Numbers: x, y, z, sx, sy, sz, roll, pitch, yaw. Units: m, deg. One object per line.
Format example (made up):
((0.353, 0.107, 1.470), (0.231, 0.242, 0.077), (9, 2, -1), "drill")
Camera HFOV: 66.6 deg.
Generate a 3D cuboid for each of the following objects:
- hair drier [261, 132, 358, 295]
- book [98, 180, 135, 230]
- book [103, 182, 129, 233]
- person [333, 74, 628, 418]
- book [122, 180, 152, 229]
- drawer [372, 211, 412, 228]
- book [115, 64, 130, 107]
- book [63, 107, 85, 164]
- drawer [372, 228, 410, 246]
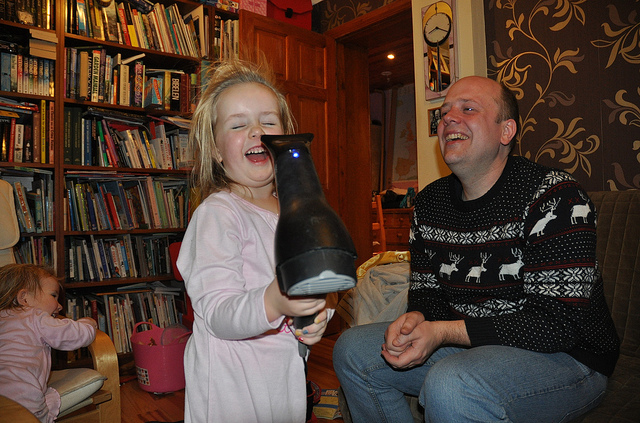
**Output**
((-0.037, 0.002, 1.418), (0.230, 0.414, 0.210), (-4, -1, -8), "hair drier")
((-1.391, -0.055, 3.509), (0.077, 0.305, 0.320), (-18, 22, -20), "book")
((-1.439, -0.010, 3.476), (0.061, 0.250, 0.252), (-25, 11, -21), "book")
((0.738, 0.089, 2.050), (0.862, 1.492, 0.580), (-4, -1, 24), "person")
((-1.341, -0.088, 3.602), (0.073, 0.299, 0.304), (-11, -32, -14), "book")
((0.891, 0.095, 5.662), (0.409, 0.183, 0.049), (-4, -1, 44), "drawer")
((-1.417, -0.888, 3.465), (0.114, 0.314, 0.346), (-1, 1, -25), "book")
((-1.672, -0.507, 3.304), (0.129, 0.279, 0.044), (-3, -1, -26), "book")
((0.817, 0.299, 5.686), (0.437, 0.195, 0.211), (-4, -1, 16), "drawer")
